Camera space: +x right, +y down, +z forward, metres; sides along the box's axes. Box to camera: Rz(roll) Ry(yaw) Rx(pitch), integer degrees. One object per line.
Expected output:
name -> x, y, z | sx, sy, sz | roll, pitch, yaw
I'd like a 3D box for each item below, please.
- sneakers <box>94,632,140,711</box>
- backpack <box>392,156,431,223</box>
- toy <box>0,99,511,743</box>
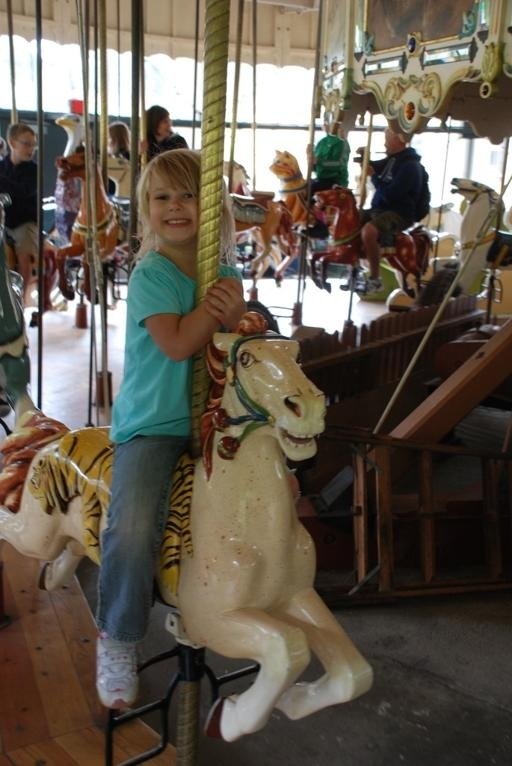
sneakers -> -0.301, 0.576, 1.284 | 0.064, 0.076, 0.189 | 3, 32, -24
backpack -> 1.940, -2.435, 7.778 | 0.451, 0.803, 0.589 | -5, 35, -1
toy -> -0.176, 0.169, 1.315 | 0.932, 1.283, 0.249 | 8, 11, 43
